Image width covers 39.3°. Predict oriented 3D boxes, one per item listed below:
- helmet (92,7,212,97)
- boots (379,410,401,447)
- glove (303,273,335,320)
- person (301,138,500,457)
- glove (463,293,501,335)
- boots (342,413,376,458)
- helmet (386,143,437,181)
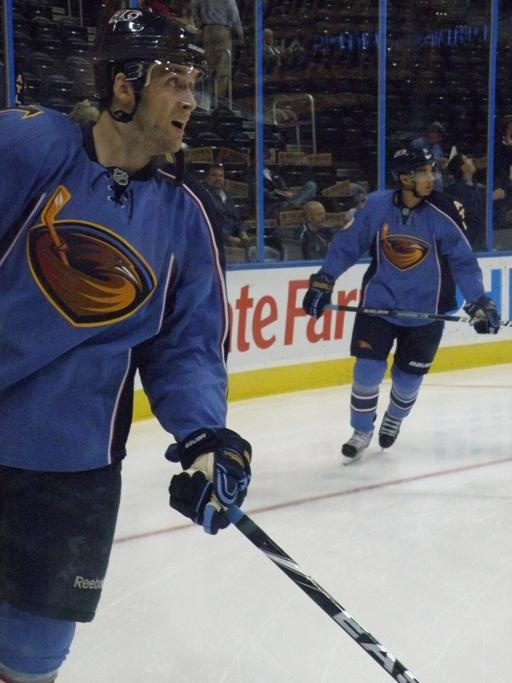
[{"bbox_3d":[-0.170,-0.432,1.113,0.158,0.129,0.117,17,19,11],"label":"helmet"},{"bbox_3d":[0.678,0.464,3.791,0.079,0.222,0.096,19,4,7],"label":"boots"},{"bbox_3d":[0.306,-0.257,3.686,0.164,0.252,0.109,10,-16,-8],"label":"glove"},{"bbox_3d":[0.707,-0.179,3.606,0.959,1.553,0.395,2,10,2],"label":"person"},{"bbox_3d":[1.100,-0.128,3.545,0.170,0.191,0.091,-38,-18,6],"label":"glove"},{"bbox_3d":[0.513,0.483,3.670,0.103,0.103,0.276,4,34,35],"label":"boots"},{"bbox_3d":[0.734,-0.860,3.480,0.199,0.169,0.149,-12,19,21],"label":"helmet"}]
